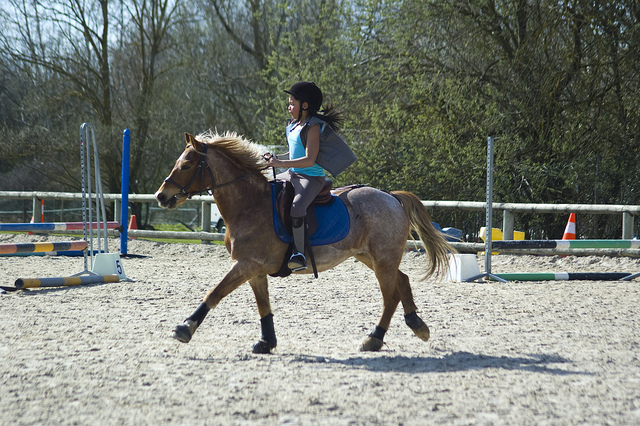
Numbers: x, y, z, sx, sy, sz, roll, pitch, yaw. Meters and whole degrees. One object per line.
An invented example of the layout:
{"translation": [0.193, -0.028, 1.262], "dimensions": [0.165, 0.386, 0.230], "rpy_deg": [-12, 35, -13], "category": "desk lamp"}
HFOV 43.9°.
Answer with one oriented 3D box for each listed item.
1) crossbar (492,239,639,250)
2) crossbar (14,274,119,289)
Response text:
{"translation": [4.794, 0.607, 15.494], "dimensions": [1.559, 0.180, 0.172], "rpy_deg": [1, -11, -5], "category": "crossbar"}
{"translation": [-4.591, 1.224, 14.439], "dimensions": [1.769, 0.293, 0.332], "rpy_deg": [-6, 15, -24], "category": "crossbar"}
